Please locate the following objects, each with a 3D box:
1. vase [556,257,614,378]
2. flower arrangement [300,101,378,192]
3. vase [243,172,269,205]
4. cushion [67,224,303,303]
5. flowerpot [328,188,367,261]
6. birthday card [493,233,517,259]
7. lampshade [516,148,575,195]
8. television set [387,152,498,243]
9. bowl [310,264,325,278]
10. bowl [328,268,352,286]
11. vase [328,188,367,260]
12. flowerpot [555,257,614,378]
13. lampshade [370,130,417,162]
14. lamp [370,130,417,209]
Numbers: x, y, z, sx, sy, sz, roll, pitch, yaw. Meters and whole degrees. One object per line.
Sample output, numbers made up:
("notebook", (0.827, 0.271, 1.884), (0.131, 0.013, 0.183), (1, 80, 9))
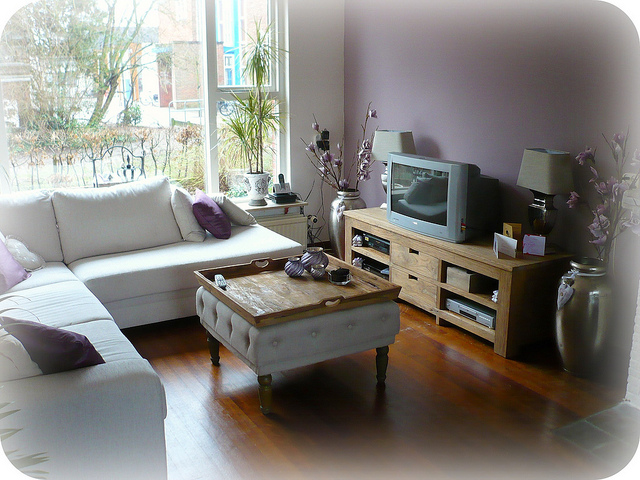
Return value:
("vase", (1.776, 0.518, 3.392), (0.367, 0.846, 0.364), (-13, 21, -44))
("flower arrangement", (0.221, -1.010, 5.449), (0.846, 1.022, 1.042), (-1, 15, -2))
("vase", (-0.677, -0.561, 5.331), (0.293, 0.348, 0.264), (-4, 13, -13))
("cushion", (-1.162, 0.186, 4.029), (1.927, 0.481, 0.881), (-8, 16, -40))
("flowerpot", (0.319, -0.162, 5.202), (0.385, 0.735, 0.366), (-5, 15, -15))
("birthday card", (1.369, 0.049, 3.649), (0.146, 0.126, 0.158), (-1, 10, 1))
("lampshade", (1.676, -0.521, 3.623), (0.281, 0.290, 0.362), (-6, 17, -19))
("television set", (1.084, -0.414, 4.349), (0.665, 0.682, 0.919), (-10, 20, -27))
("bowl", (-0.014, 0.219, 3.471), (0.083, 0.072, 0.085), (1, 1, 0))
("bowl", (0.144, 0.245, 3.449), (0.166, 0.089, 0.194), (1, 15, 6))
("vase", (0.304, -0.195, 5.291), (0.376, 0.676, 0.384), (-2, 13, -14))
("flowerpot", (1.809, 0.541, 3.359), (0.351, 0.776, 0.211), (6, 16, 26))
("lampshade", (0.697, -0.941, 4.777), (0.370, 0.257, 0.313), (9, 24, 25))
("lamp", (0.682, -0.704, 4.914), (0.371, 0.874, 0.424), (-8, 15, -30))
